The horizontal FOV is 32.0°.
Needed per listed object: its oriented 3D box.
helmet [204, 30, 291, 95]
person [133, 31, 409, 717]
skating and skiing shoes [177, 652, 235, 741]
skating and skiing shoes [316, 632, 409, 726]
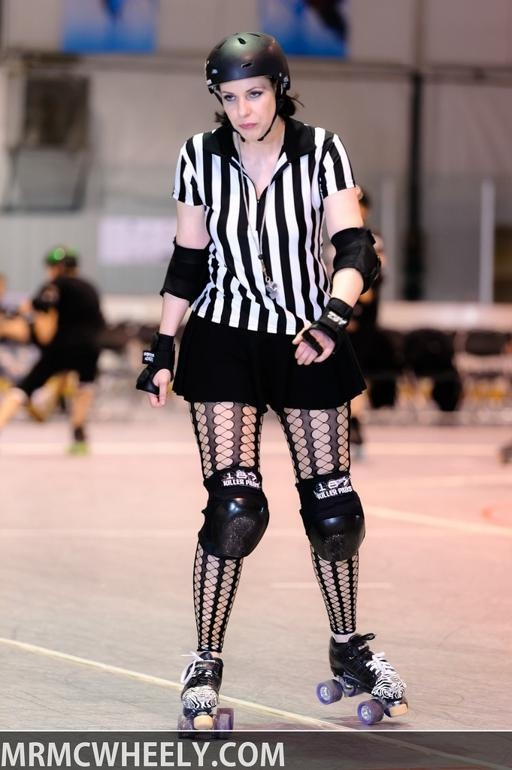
[{"bbox_3d":[-0.013,-0.582,1.641,0.120,0.096,0.136,-6,-11,9],"label":"helmet"},{"bbox_3d":[0.019,-0.011,1.731,0.474,1.302,0.394,-2,3,-12],"label":"person"},{"bbox_3d":[-0.095,0.573,1.674,0.102,0.135,0.202,-1,3,-2],"label":"skating and skiing shoes"},{"bbox_3d":[0.210,0.593,1.784,0.107,0.117,0.186,-10,9,-33],"label":"skating and skiing shoes"}]
